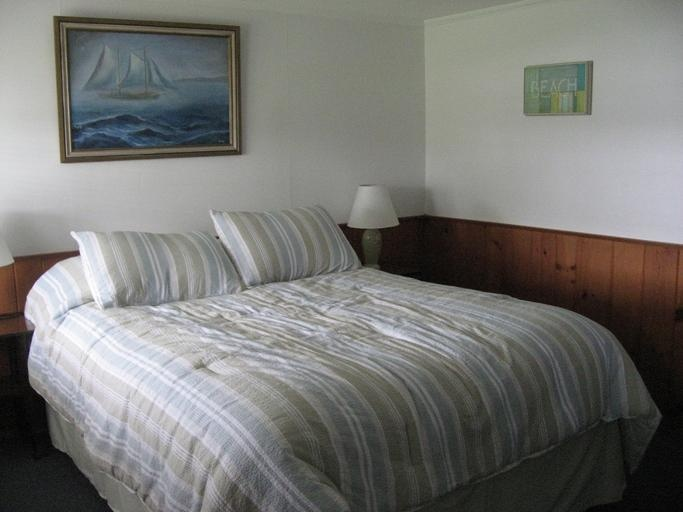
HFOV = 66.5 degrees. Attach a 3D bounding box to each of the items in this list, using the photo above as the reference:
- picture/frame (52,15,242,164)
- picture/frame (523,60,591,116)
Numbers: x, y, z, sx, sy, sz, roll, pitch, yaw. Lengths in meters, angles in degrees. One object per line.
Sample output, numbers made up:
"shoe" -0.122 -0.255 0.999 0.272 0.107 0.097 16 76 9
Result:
"picture/frame" -1.319 -1.103 3.399 1.005 0.767 0.042 -6 14 -32
"picture/frame" 1.528 -1.178 3.643 0.058 0.316 0.423 -6 11 -34
